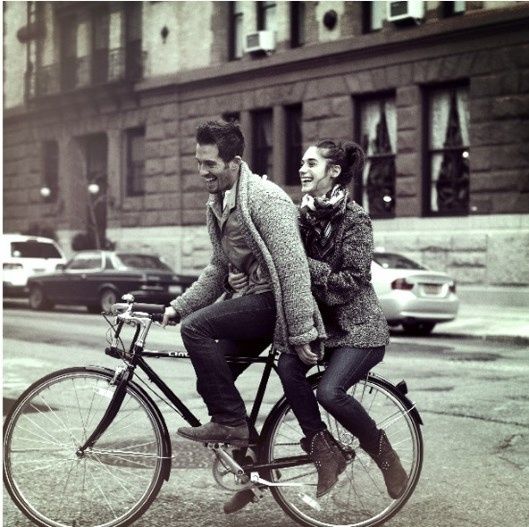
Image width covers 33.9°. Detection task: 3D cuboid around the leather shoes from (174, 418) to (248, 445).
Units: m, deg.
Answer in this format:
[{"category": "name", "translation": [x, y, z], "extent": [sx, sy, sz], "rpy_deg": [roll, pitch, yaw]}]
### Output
[{"category": "leather shoes", "translation": [-0.267, 0.886, 4.421], "extent": [0.369, 0.144, 0.130], "rpy_deg": [9, -14, -6]}]

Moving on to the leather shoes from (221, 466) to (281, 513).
[{"category": "leather shoes", "translation": [-0.103, 1.282, 4.723], "extent": [0.137, 0.160, 0.591], "rpy_deg": [15, -37, -18]}]

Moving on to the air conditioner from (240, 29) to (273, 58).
[{"category": "air conditioner", "translation": [-0.063, -2.038, 8.598], "extent": [0.249, 0.246, 0.335], "rpy_deg": [2, -5, -29]}]

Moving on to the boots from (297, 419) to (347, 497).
[{"category": "boots", "translation": [0.278, 0.984, 4.402], "extent": [0.130, 0.248, 0.360], "rpy_deg": [-12, 0, 40]}]
